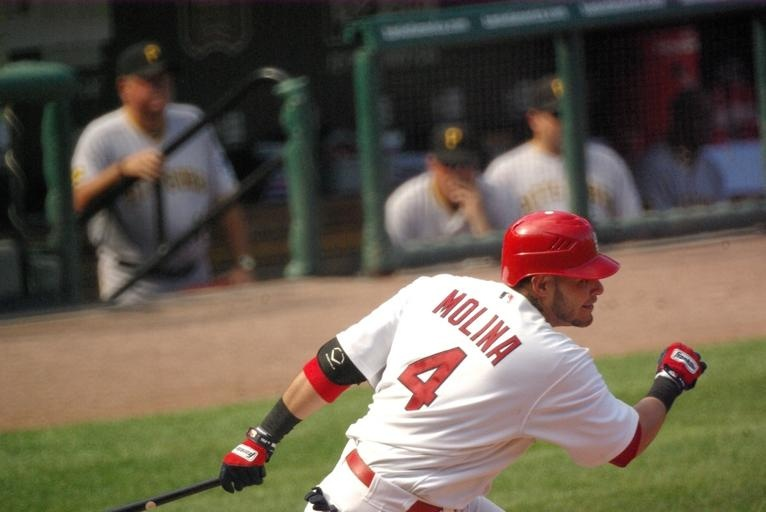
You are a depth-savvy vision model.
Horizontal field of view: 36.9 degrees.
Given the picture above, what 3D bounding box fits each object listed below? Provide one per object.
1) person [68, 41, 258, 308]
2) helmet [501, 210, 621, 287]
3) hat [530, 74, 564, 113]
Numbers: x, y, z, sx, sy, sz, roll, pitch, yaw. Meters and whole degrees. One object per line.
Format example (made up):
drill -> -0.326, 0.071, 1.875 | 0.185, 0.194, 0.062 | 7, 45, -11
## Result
person -> -1.761, -0.679, 8.687 | 1.309, 2.963, 0.954 | -11, 19, -29
helmet -> 0.984, -0.044, 6.660 | 0.569, 0.305, 0.424 | 0, 7, 11
hat -> 1.275, -1.293, 9.175 | 0.299, 0.225, 0.136 | -34, -3, 7
